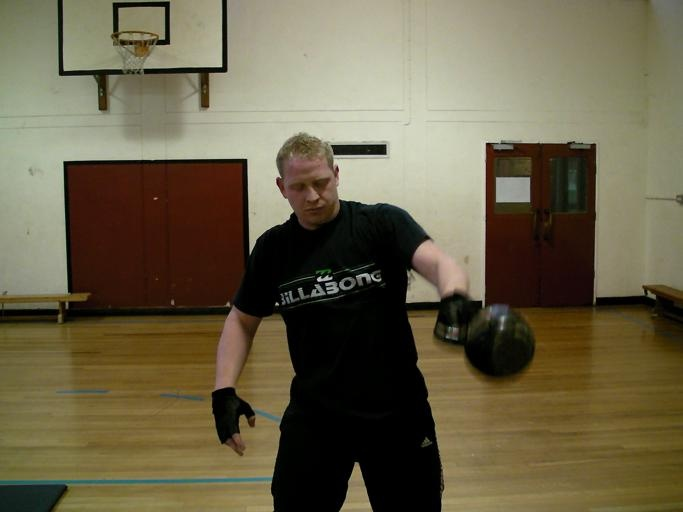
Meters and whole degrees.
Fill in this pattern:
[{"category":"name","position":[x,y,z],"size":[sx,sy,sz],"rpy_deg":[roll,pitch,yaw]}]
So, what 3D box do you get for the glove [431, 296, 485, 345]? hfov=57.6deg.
[{"category":"glove","position":[0.671,0.337,3.592],"size":[0.176,0.344,0.219],"rpy_deg":[13,11,1]}]
